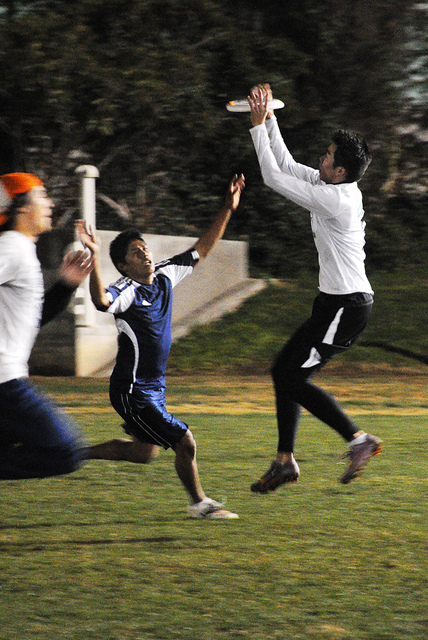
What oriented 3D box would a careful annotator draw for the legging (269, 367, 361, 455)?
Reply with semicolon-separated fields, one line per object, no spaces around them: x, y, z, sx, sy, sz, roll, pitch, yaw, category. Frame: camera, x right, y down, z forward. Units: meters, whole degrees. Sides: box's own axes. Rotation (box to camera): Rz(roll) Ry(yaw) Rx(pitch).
0.794;0.517;6.191;0.579;0.269;0.774;1;13;-17;legging
